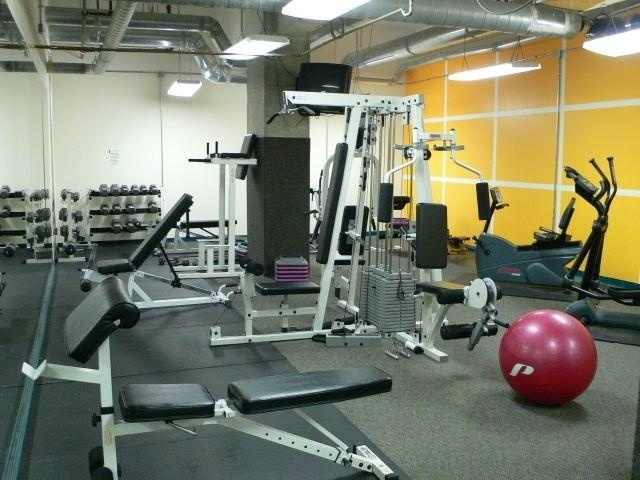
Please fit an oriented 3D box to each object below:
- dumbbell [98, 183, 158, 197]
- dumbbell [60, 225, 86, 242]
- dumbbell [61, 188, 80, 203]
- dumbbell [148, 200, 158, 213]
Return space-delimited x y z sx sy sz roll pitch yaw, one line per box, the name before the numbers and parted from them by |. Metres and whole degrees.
dumbbell | -3.179 -0.739 8.787 0.979 0.193 0.433 -3 12 -20
dumbbell | -3.865 -0.037 8.270 0.342 0.196 0.243 2 3 7
dumbbell | -3.833 -0.594 8.112 0.264 0.095 0.242 -1 8 -35
dumbbell | -2.792 -0.464 8.871 0.180 0.176 0.279 -3 12 -17
